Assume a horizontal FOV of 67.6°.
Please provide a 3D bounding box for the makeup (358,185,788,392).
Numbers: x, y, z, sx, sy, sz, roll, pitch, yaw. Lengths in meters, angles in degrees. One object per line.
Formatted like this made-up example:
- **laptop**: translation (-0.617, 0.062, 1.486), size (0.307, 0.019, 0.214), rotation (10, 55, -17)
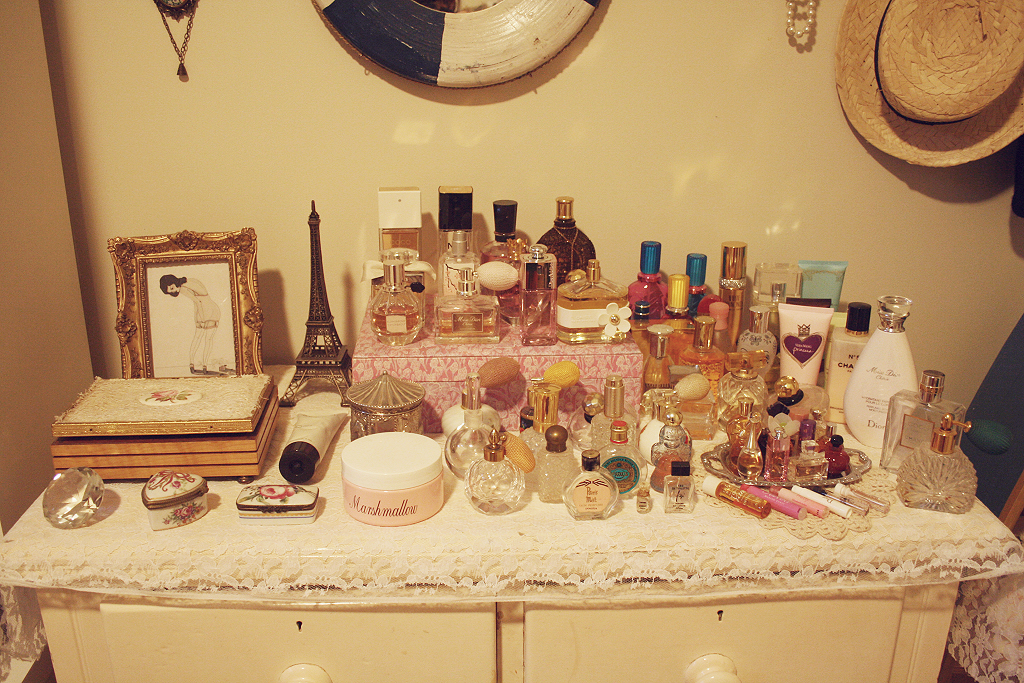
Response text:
- **makeup**: translation (-0.033, -0.169, 1.709), size (0.617, 0.331, 0.348), rotation (-3, 22, -6)

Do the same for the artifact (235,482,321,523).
- **artifact**: translation (-0.408, 0.275, 1.319), size (0.113, 0.038, 0.064), rotation (1, 22, -7)

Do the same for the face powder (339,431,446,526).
- **face powder**: translation (-0.211, 0.221, 1.371), size (0.169, 0.142, 0.170), rotation (-2, 20, -9)

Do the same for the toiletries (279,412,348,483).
- **toiletries**: translation (-0.388, 0.192, 1.466), size (0.114, 0.061, 0.247), rotation (3, 18, -8)

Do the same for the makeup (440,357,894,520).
- **makeup**: translation (0.312, 0.120, 1.590), size (0.588, 0.296, 0.596), rotation (1, 9, -3)

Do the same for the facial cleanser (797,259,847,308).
- **facial cleanser**: translation (0.677, -0.127, 1.684), size (0.095, 0.156, 0.056), rotation (6, 27, 16)
